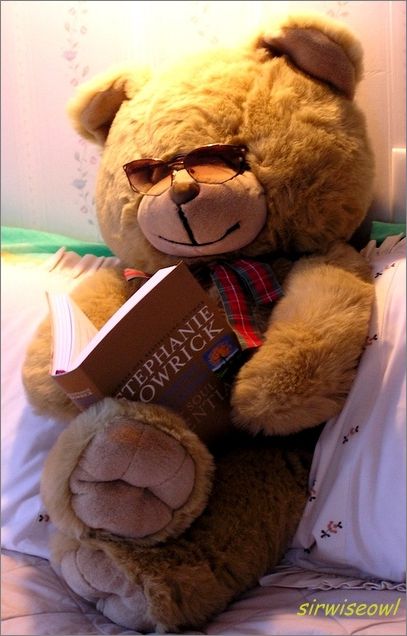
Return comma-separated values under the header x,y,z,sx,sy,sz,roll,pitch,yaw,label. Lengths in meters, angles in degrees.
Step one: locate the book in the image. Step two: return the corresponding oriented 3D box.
x,y,z,sx,sy,sz,roll,pitch,yaw,label
-0.085,0.035,0.825,0.250,0.268,0.256,-14,31,-7,book
